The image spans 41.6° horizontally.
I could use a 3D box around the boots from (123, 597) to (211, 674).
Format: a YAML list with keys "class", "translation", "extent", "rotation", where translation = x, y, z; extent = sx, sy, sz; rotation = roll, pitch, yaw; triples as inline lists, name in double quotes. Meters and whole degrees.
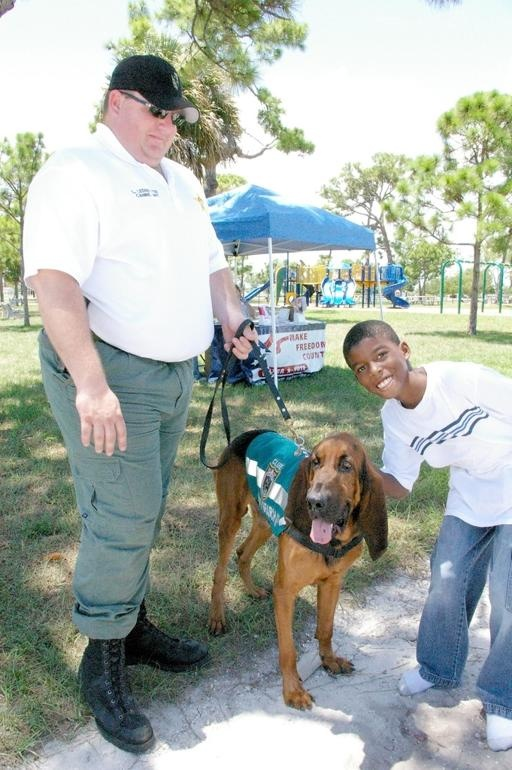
- class: "boots"
  translation: [-0.384, 1.093, 2.881]
  extent: [0.416, 0.248, 0.160]
  rotation: [0, 8, -5]

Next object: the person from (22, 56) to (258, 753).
- class: "person"
  translation: [-0.473, 0.041, 2.481]
  extent: [0.523, 2.451, 1.104]
  rotation: [7, 14, 19]

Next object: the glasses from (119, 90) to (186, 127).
- class: "glasses"
  translation: [-0.359, -0.989, 2.413]
  extent: [0.147, 0.040, 0.112]
  rotation: [36, 26, 21]

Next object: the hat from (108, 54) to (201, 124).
- class: "hat"
  translation: [-0.372, -1.107, 2.480]
  extent: [0.387, 0.189, 0.272]
  rotation: [20, 17, 24]
